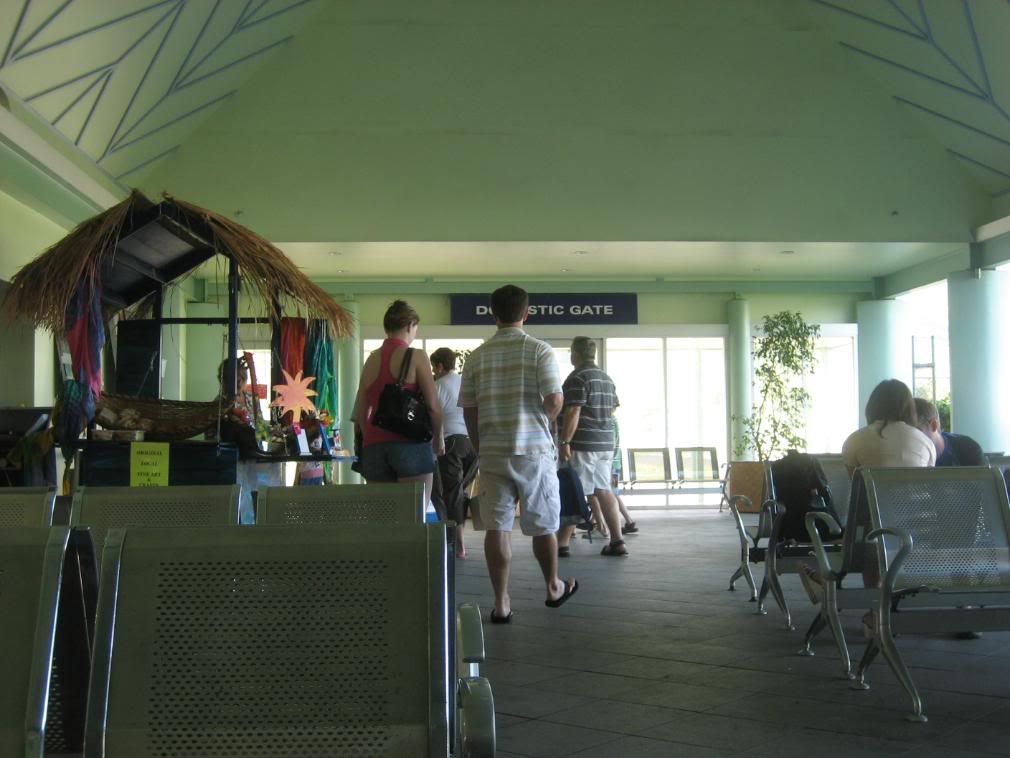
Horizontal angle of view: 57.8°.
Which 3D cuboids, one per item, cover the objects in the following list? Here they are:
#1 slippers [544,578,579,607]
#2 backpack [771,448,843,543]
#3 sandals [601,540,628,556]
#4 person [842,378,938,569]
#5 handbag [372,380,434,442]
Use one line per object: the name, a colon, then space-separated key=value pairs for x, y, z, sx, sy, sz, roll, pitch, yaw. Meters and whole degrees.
slippers: x=0.361 y=1.361 z=5.768 sx=0.108 sy=0.124 sz=0.301 roll=2 pitch=10 yaw=23
backpack: x=1.753 y=0.776 z=5.352 sx=0.338 sy=0.606 sz=0.557 roll=-7 pitch=11 yaw=5
sandals: x=1.034 y=1.604 z=8.650 sx=0.234 sy=0.105 sz=0.110 roll=2 pitch=1 yaw=35
person: x=2.245 y=0.587 z=5.347 sx=0.506 sy=1.192 sz=0.623 roll=0 pitch=11 yaw=15
handbag: x=-0.620 y=0.212 z=5.543 sx=0.140 sy=0.272 sz=0.269 roll=-22 pitch=-31 yaw=35
